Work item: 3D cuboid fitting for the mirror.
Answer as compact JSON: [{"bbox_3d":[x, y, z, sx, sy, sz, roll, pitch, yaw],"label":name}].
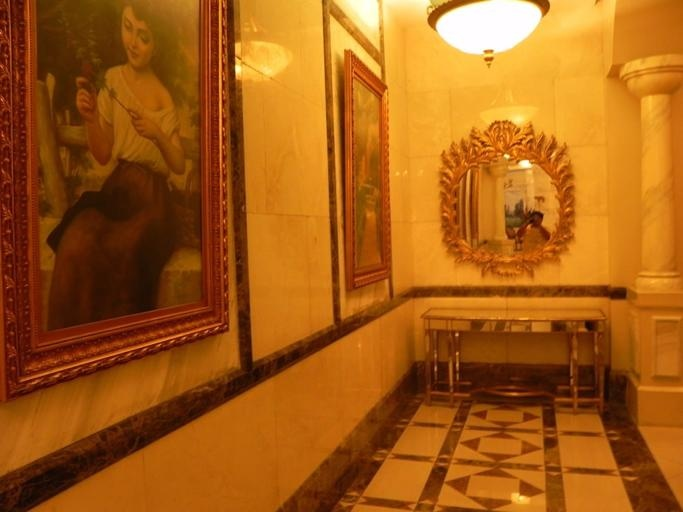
[{"bbox_3d":[1.939,-0.659,6.136,1.635,2.050,0.035,1,4,18],"label":"mirror"}]
